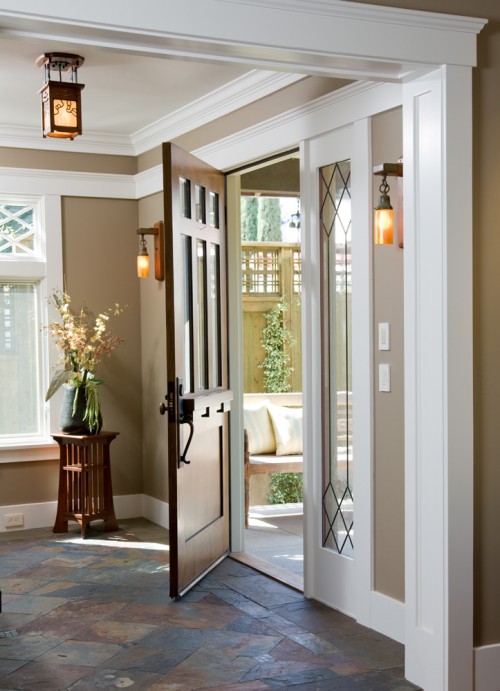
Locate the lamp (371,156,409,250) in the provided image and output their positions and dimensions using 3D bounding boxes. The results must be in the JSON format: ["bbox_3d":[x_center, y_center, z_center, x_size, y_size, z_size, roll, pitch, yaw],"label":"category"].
[{"bbox_3d":[0.550,-0.537,2.294,0.134,0.311,0.149,-2,10,-9],"label":"lamp"}]

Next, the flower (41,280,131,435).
[{"bbox_3d":[-1.312,0.162,4.479,0.442,1.107,0.464,-12,-19,4],"label":"flower"}]

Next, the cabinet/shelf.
[{"bbox_3d":[-1.211,0.994,4.310,0.426,0.751,0.450,0,-7,-16],"label":"cabinet/shelf"}]

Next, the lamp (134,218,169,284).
[{"bbox_3d":[-0.761,-0.712,4.454,0.191,0.488,0.724,0,-5,-10],"label":"lamp"}]

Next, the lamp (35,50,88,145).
[{"bbox_3d":[-0.953,-1.245,2.960,0.199,0.394,0.210,-4,6,-34],"label":"lamp"}]

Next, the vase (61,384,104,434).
[{"bbox_3d":[-1.257,0.476,4.376,0.304,0.377,0.248,3,4,-21],"label":"vase"}]

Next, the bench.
[{"bbox_3d":[0.407,0.980,5.197,1.083,1.039,0.493,-1,-4,-16],"label":"bench"}]
